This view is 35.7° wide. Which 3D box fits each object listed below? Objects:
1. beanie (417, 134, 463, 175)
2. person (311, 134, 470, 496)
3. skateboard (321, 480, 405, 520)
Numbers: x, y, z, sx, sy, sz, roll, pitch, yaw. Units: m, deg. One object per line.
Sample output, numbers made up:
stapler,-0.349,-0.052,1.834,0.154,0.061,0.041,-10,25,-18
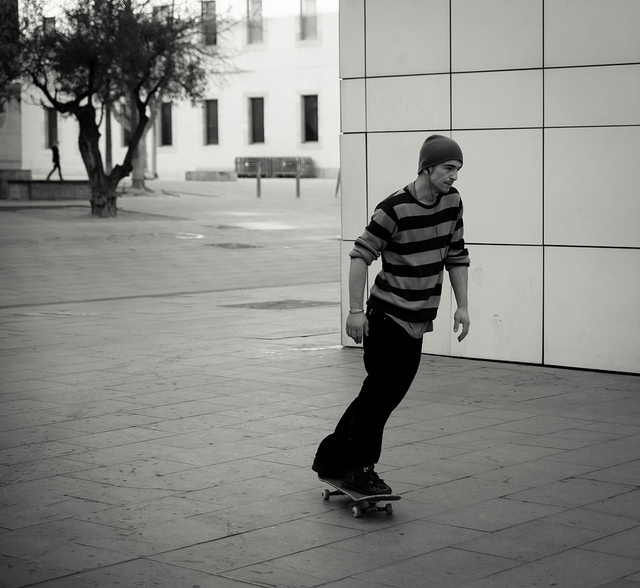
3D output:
beanie,0.588,-0.683,4.856,0.204,0.187,0.233,4,8,11
person,0.383,0.116,4.980,0.744,1.816,0.440,2,8,-1
skateboard,0.205,1.025,5.035,0.156,0.101,0.490,3,-4,-28
